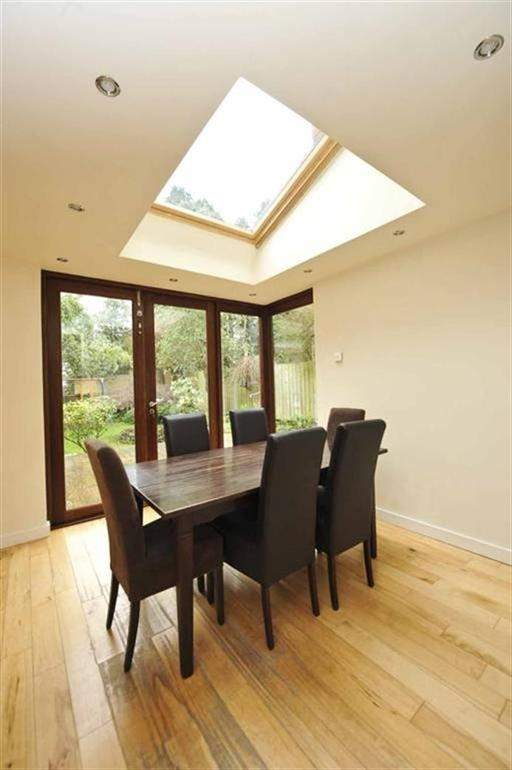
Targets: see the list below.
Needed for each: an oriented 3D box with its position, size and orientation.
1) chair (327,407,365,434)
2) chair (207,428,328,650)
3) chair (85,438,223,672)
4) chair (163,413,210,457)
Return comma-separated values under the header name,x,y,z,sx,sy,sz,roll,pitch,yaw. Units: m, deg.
name,x,y,z,sx,sy,sz,roll,pitch,yaw
chair,0.603,0.217,3.501,0.217,0.222,0.224,0,-1,-35
chair,0.050,0.638,2.375,0.366,0.864,0.468,-4,4,-37
chair,-0.438,0.651,2.275,0.492,0.871,0.413,-9,10,-28
chair,-0.454,0.315,3.444,0.252,0.479,0.245,0,-6,-38
